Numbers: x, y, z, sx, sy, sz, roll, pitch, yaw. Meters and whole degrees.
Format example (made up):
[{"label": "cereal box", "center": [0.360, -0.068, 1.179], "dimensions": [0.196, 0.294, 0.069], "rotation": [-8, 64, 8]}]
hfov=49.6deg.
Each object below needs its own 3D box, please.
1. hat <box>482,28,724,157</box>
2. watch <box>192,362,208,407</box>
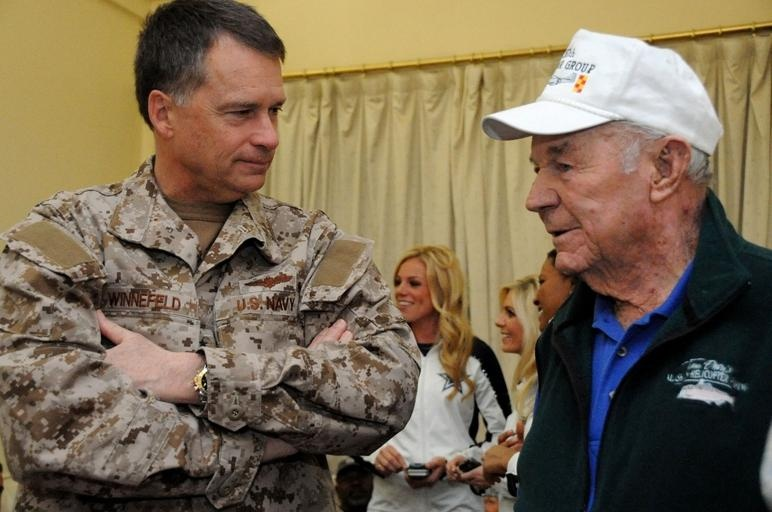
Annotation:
[{"label": "hat", "center": [0.611, -0.439, 2.295], "dimensions": [0.654, 0.286, 0.393], "rotation": [8, 11, -12]}, {"label": "watch", "center": [-0.489, 0.346, 2.225], "dimensions": [0.024, 0.083, 0.079], "rotation": [-3, -2, 26]}]
